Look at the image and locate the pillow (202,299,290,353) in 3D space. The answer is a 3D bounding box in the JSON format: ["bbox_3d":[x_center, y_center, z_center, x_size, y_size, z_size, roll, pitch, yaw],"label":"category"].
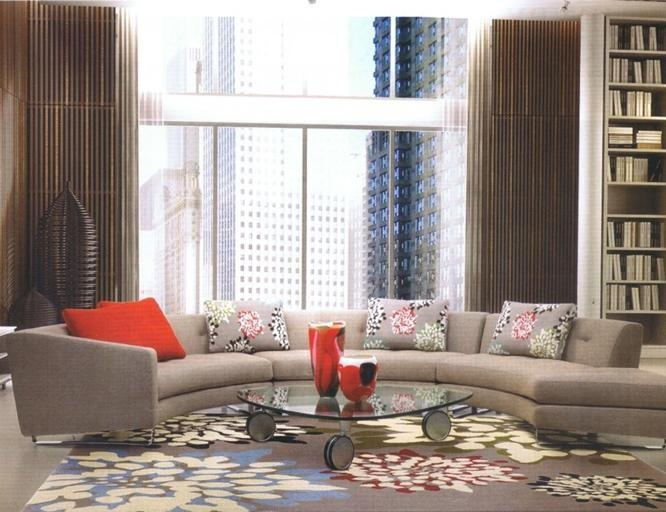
[{"bbox_3d":[-0.818,0.663,6.564,0.539,0.294,0.170,-1,-30,-20],"label":"pillow"}]

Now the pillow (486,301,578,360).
[{"bbox_3d":[1.720,0.616,6.170,0.181,0.512,0.601,32,-16,-36],"label":"pillow"}]

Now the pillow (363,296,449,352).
[{"bbox_3d":[0.682,0.660,6.662,0.549,0.312,0.173,1,-37,11],"label":"pillow"}]
